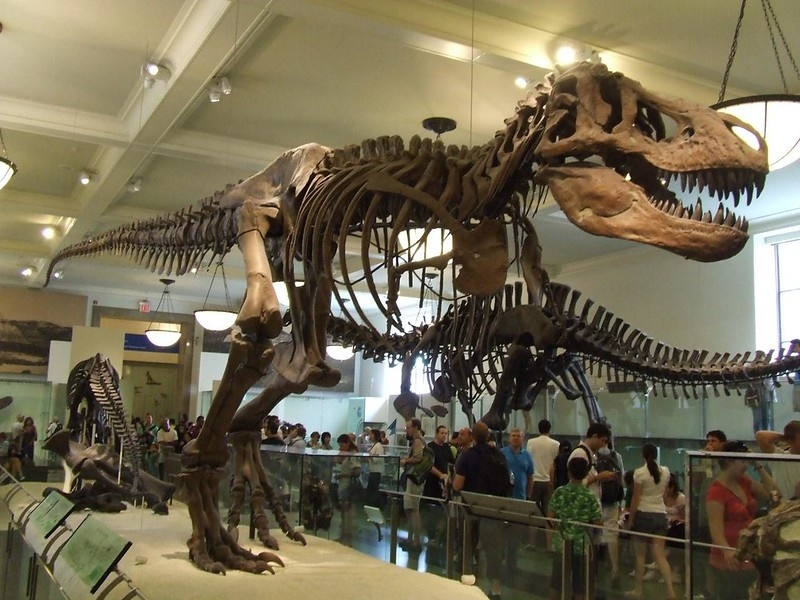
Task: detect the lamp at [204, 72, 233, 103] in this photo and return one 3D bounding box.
[{"bbox_3d":[-2.006,-2.403,6.848,0.298,0.309,0.262,4,8,29],"label":"lamp"}]

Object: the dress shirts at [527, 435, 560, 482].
[{"bbox_3d":[1.456,1.618,6.115,0.340,0.437,0.233,3,-18,-1],"label":"dress shirts"}]

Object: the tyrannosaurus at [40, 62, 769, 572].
[{"bbox_3d":[-0.221,0.180,3.632,4.253,2.884,0.979,-6,-10,40],"label":"tyrannosaurus"}]

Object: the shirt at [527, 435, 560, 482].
[{"bbox_3d":[1.456,1.618,6.115,0.340,0.437,0.233,3,-18,-1],"label":"shirt"}]

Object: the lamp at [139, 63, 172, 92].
[{"bbox_3d":[-2.608,-2.407,6.435,0.303,0.230,0.301,5,12,-17],"label":"lamp"}]
